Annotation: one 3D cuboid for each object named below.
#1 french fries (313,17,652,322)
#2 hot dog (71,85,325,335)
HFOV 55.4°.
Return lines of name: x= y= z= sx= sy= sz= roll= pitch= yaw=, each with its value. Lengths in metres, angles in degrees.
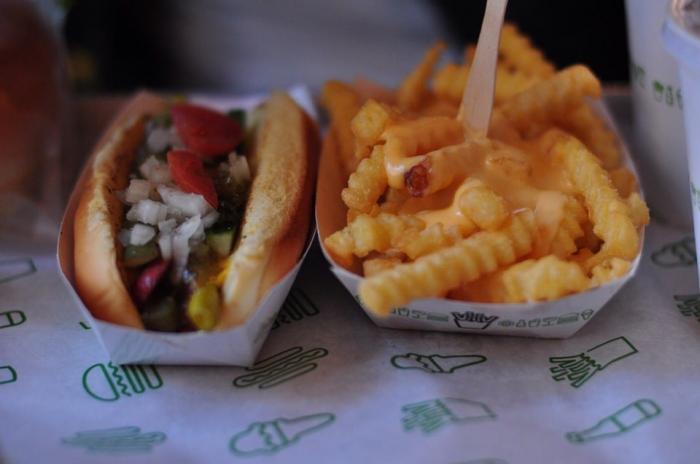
french fries: x=0.387 y=-0.107 z=1.995 sx=0.714 sy=0.297 sz=0.857 roll=-7 pitch=55 yaw=3
hot dog: x=-0.440 y=-0.063 z=1.894 sx=0.649 sy=0.287 sz=0.990 roll=5 pitch=42 yaw=1
